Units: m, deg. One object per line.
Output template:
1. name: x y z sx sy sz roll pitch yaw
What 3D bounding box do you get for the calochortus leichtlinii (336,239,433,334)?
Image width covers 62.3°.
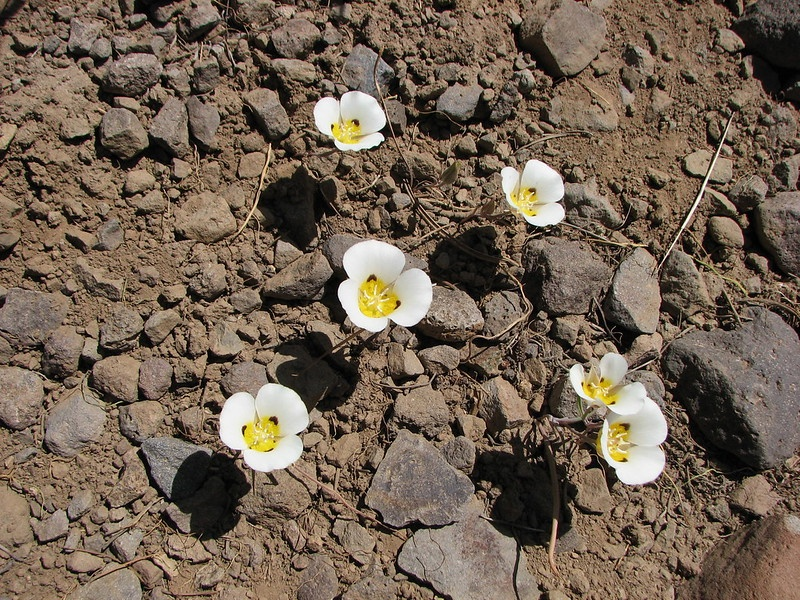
1. calochortus leichtlinii: -0.102 -0.090 3.857 0.531 0.258 0.539 -10 80 -11

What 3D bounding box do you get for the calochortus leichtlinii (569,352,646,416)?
1. calochortus leichtlinii: 1.185 0.553 3.959 0.381 0.218 0.462 0 21 -17

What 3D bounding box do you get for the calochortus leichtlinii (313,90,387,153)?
1. calochortus leichtlinii: -0.287 -1.133 4.269 0.400 0.429 0.168 42 70 -21

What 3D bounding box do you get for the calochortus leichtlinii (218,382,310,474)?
1. calochortus leichtlinii: -0.781 0.734 3.795 0.470 0.206 0.559 18 41 -9
